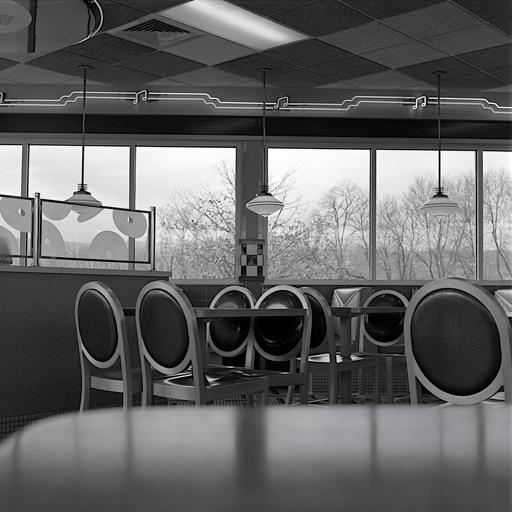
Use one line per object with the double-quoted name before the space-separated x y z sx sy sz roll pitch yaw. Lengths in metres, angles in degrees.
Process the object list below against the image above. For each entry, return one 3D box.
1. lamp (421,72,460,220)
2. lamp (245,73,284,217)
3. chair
"lamp" 1.924 -1.123 5.643 0.324 1.503 1.323 -2 -3 18
"lamp" 0.084 -1.043 4.875 0.295 1.322 0.296 -6 12 -27
"chair" -0.116 0.389 2.678 1.428 0.703 0.761 2 -4 -40
